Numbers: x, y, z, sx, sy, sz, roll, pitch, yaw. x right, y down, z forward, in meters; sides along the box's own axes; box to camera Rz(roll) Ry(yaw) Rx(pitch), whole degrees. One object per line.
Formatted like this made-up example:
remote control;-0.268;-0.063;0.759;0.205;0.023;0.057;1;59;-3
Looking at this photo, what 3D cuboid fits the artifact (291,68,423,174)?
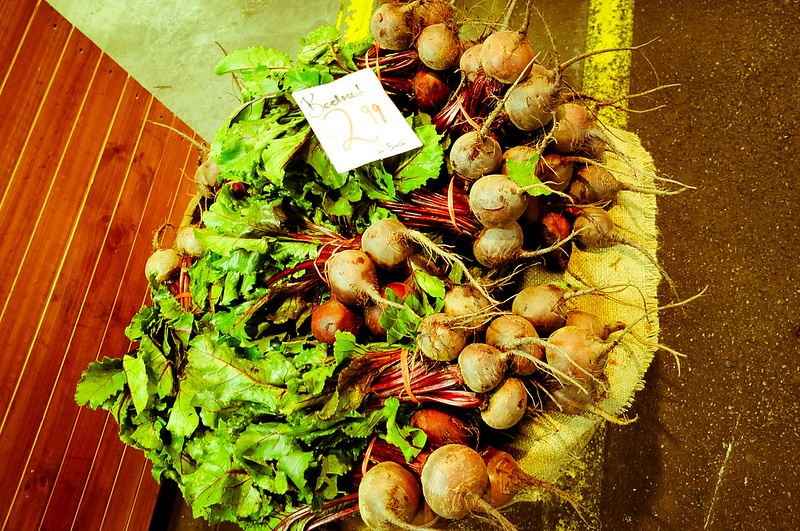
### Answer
artifact;-0.196;-0.644;3.146;0.388;0.259;0.489;-34;62;0
